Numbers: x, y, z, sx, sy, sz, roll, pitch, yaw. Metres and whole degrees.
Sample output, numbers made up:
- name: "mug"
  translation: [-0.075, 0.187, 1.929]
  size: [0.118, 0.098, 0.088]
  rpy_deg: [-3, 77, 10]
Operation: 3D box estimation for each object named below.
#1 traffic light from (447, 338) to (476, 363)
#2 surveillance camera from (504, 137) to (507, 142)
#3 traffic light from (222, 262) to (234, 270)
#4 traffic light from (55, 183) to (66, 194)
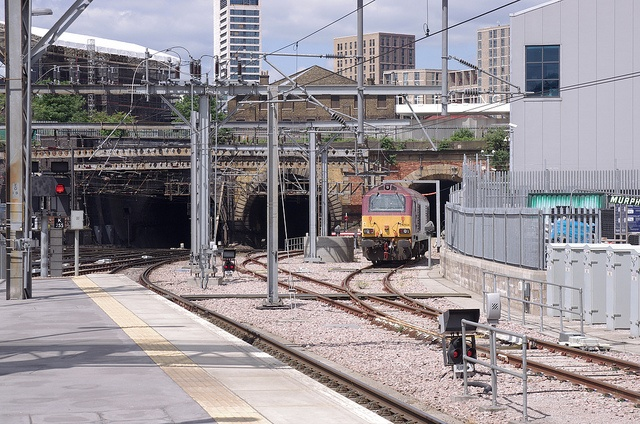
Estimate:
- name: "traffic light"
  translation: [3.539, 3.563, 25.561]
  size: [0.585, 0.719, 0.375]
  rpy_deg: [-3, -6, -2]
- name: "surveillance camera"
  translation: [17.291, -6.719, 92.972]
  size: [0.408, 0.476, 0.745]
  rpy_deg: [-1, 0, 10]
- name: "traffic light"
  translation: [-4.019, 2.379, 43.962]
  size: [0.409, 0.348, 0.406]
  rpy_deg: [2, 0, -45]
- name: "traffic light"
  translation: [-11.157, -1.008, 42.977]
  size: [0.496, 0.436, 0.109]
  rpy_deg: [2, 4, 3]
